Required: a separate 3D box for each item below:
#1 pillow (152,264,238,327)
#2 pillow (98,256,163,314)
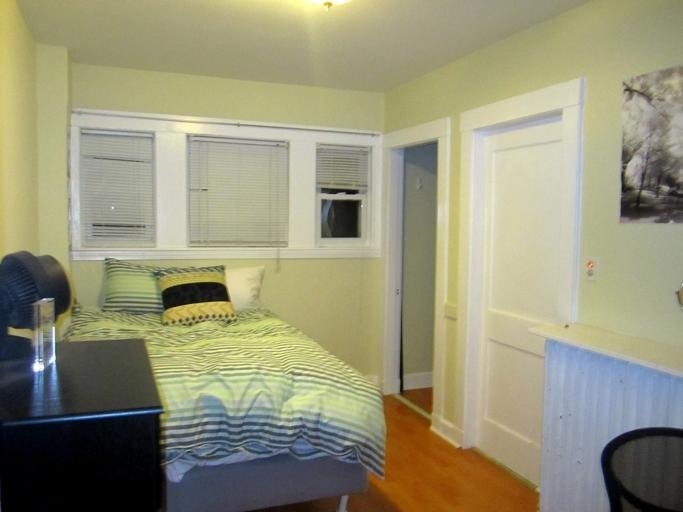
[{"bbox_3d":[-1.110,0.277,3.926,0.545,0.582,0.159,7,19,-14],"label":"pillow"},{"bbox_3d":[-1.672,0.248,3.974,0.417,0.311,0.145,-2,-1,-24],"label":"pillow"}]
